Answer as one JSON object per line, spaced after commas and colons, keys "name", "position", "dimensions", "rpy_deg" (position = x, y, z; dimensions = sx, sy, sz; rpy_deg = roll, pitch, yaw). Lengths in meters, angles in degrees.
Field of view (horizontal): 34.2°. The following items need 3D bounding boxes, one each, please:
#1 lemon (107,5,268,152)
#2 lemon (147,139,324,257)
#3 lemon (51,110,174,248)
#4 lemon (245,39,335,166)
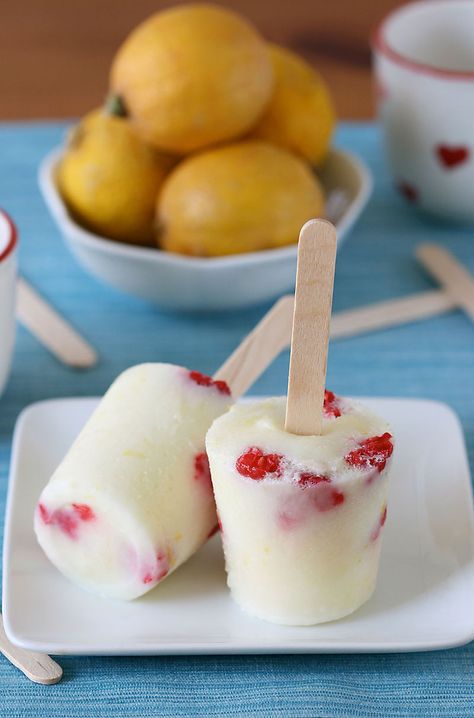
{"name": "lemon", "position": [-0.032, -0.211, 0.588], "dimensions": [0.124, 0.075, 0.089], "rpy_deg": [-10, 54, -4]}
{"name": "lemon", "position": [0.000, -0.117, 0.586], "dimensions": [0.123, 0.082, 0.079], "rpy_deg": [-3, 92, -14]}
{"name": "lemon", "position": [-0.097, -0.160, 0.639], "dimensions": [0.094, 0.062, 0.106], "rpy_deg": [-17, 48, -14]}
{"name": "lemon", "position": [0.048, -0.197, 0.615], "dimensions": [0.075, 0.088, 0.054], "rpy_deg": [26, 17, 27]}
